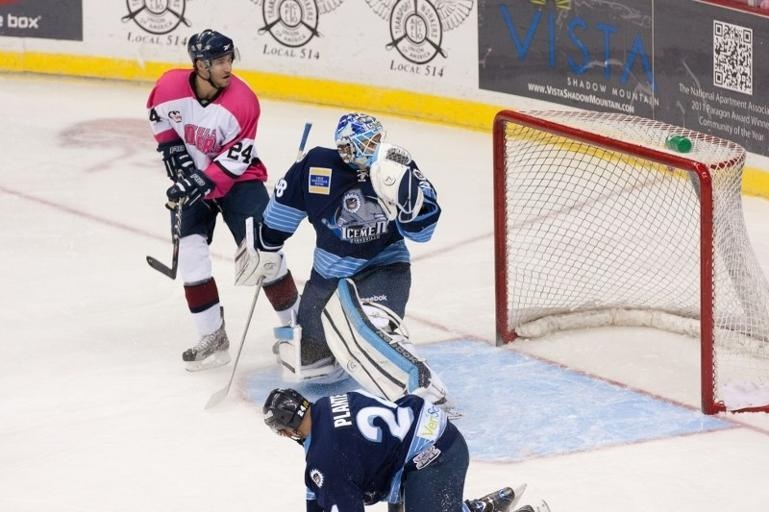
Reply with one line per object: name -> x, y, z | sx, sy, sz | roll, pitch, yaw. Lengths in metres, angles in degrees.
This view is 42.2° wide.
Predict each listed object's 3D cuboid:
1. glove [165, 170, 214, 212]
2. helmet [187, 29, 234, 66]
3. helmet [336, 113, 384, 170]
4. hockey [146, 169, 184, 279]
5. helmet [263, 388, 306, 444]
glove -> -1.091, -0.356, 5.663 | 0.256, 0.184, 0.109 | -29, -23, -10
helmet -> -0.964, -1.173, 5.627 | 0.229, 0.214, 0.174 | -4, 12, 24
helmet -> -0.130, -0.590, 5.174 | 0.286, 0.269, 0.230 | 6, 19, 31
hockey -> -1.249, -0.152, 5.773 | 0.053, 0.616, 0.268 | -28, -41, 28
helmet -> -0.411, 0.661, 4.240 | 0.176, 0.180, 0.093 | 10, 18, 22
